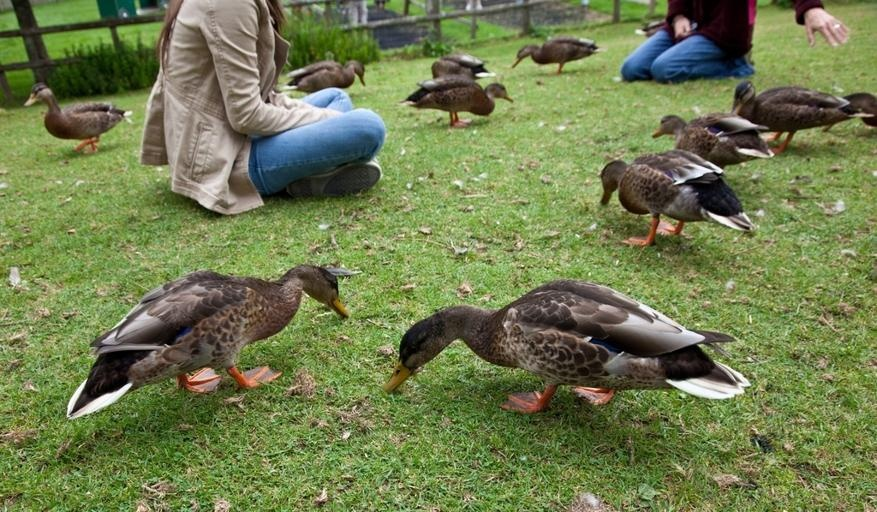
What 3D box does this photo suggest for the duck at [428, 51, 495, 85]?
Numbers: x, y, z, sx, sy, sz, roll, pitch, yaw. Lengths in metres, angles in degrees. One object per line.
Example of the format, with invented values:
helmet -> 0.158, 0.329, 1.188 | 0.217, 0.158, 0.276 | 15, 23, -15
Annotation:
duck -> 0.300, -2.734, 11.334 | 1.100, 0.615, 0.514 | -2, 19, -11

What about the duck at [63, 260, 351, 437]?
duck -> -2.040, 0.647, 6.606 | 2.521, 0.973, 0.827 | -7, 34, -26

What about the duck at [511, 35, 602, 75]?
duck -> 1.902, -3.226, 12.311 | 1.486, 0.549, 0.575 | -13, 15, 24
